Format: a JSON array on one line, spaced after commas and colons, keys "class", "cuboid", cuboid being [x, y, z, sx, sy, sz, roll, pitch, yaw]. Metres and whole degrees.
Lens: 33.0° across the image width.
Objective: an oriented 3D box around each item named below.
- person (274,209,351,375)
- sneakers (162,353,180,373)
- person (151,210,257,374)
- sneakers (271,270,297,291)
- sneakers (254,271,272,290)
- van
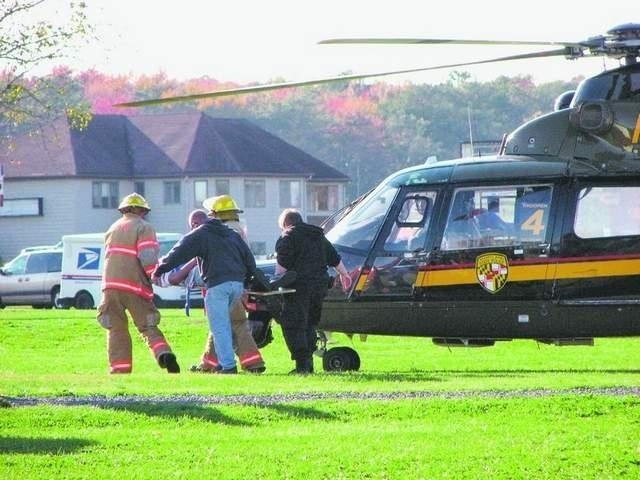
[{"class": "person", "cuboid": [-0.229, 0.733, 15.281, 0.756, 2.257, 1.138, 3, 8, 18]}, {"class": "sneakers", "cuboid": [-2.056, 1.650, 14.547, 0.210, 0.324, 0.256, 1, 7, 5]}, {"class": "person", "cuboid": [-1.449, 0.782, 14.781, 1.304, 2.146, 0.814, 0, 8, -5]}, {"class": "sneakers", "cuboid": [-0.485, 0.559, 14.828, 0.193, 0.150, 0.464, 29, -31, -27]}, {"class": "sneakers", "cuboid": [-0.830, 0.566, 14.919, 0.318, 0.289, 0.225, 7, -8, -17]}, {"class": "van", "cuboid": [-4.951, 0.983, 30.730, 5.087, 2.576, 2.792, -1, 0, 12]}]
